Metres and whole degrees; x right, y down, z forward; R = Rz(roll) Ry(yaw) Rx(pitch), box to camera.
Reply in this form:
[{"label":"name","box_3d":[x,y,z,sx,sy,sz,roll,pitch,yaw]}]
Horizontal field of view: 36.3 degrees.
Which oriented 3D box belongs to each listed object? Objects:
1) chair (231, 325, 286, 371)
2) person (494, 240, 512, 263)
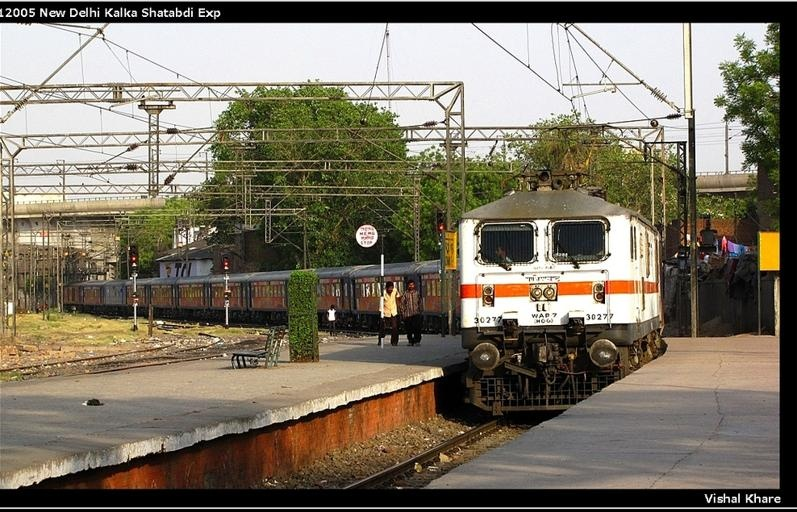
[{"label":"chair","box_3d":[-3.461,2.296,30.409,0.986,1.156,1.738,2,0,6]},{"label":"person","box_3d":[2.325,-0.084,27.067,0.286,0.833,0.255,-11,-22,10]}]
